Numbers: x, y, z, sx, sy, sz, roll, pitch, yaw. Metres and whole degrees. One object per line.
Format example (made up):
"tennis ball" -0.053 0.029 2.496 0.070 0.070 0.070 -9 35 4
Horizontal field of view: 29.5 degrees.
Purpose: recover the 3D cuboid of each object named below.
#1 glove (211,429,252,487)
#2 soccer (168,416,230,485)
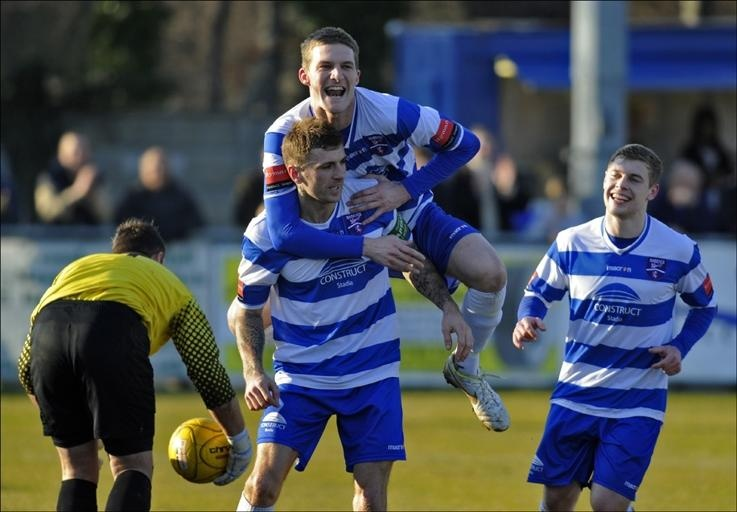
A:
"glove" -1.045 1.614 11.065 0.309 0.439 0.151 11 28 -13
"soccer" -1.344 1.527 11.070 0.450 0.496 0.477 -1 5 -7
